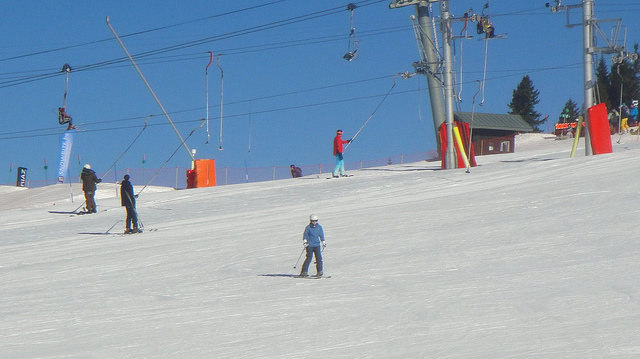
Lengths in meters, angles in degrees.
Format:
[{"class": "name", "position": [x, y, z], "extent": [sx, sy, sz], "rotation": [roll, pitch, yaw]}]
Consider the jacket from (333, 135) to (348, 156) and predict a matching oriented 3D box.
[{"class": "jacket", "position": [1.015, -1.875, 71.132], "extent": [0.606, 1.033, 0.432], "rotation": [-3, 10, 13]}]

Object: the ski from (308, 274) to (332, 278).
[{"class": "ski", "position": [0.035, 3.922, 53.589], "extent": [0.910, 0.105, 0.208], "rotation": [0, 10, 24]}]

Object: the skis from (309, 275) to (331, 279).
[{"class": "skis", "position": [0.053, 3.940, 53.557], "extent": [0.837, 0.142, 0.260], "rotation": [1, 10, 27]}]

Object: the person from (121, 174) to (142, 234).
[{"class": "person", "position": [-8.890, 1.125, 61.158], "extent": [0.775, 2.670, 0.986], "rotation": [-7, 10, -7]}]

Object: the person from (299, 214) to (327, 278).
[{"class": "person", "position": [-0.322, 2.689, 53.836], "extent": [1.118, 2.527, 1.044], "rotation": [-4, 10, 6]}]

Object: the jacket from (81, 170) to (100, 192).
[{"class": "jacket", "position": [-11.690, 0.052, 66.674], "extent": [0.817, 1.084, 0.507], "rotation": [-6, 10, -7]}]
